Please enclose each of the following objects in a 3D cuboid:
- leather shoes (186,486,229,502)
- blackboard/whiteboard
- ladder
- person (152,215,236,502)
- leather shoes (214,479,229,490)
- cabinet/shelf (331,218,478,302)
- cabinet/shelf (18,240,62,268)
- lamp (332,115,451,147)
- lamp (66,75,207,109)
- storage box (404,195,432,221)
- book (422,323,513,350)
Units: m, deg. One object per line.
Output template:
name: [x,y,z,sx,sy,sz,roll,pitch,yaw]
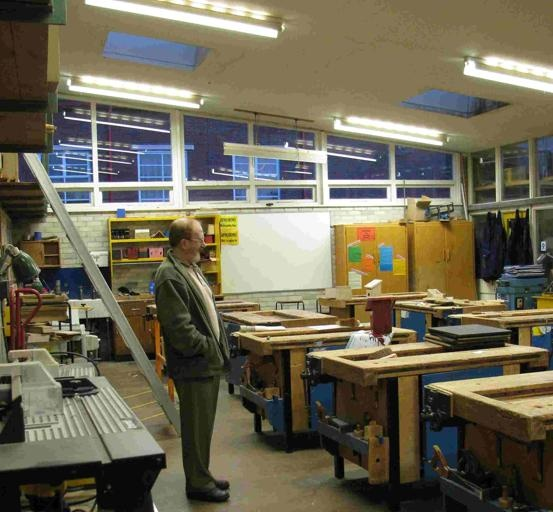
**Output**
leather shoes: [-0.406,1.436,3.308,0.283,0.093,0.094,1,1,-7]
blackboard/whiteboard: [-0.097,-0.049,9.408,1.784,1.037,0.031,-1,2,-17]
ladder: [-1.941,0.324,5.923,0.184,3.878,0.203,-17,19,34]
person: [-0.502,0.627,3.296,0.408,1.739,0.467,-3,-1,13]
leather shoes: [-0.348,1.430,3.412,0.044,0.043,0.110,2,2,-13]
cabinet/shelf: [2.063,0.075,9.088,1.784,1.344,0.578,-1,0,-16]
cabinet/shelf: [-3.139,-0.039,7.220,0.519,0.394,0.183,-1,2,-29]
lamp: [1.938,-2.143,9.339,2.086,0.379,0.796,-1,-1,-15]
lamp: [-2.209,-2.533,8.591,2.067,0.239,1.054,-1,-1,-20]
storage box: [2.490,-0.845,9.780,0.500,0.551,0.489,-1,4,-22]
book: [1.184,0.513,3.373,0.500,0.130,0.263,-2,-1,7]
